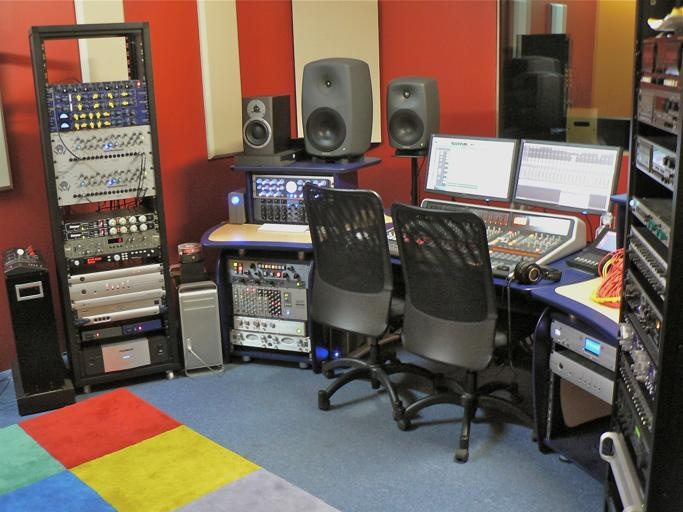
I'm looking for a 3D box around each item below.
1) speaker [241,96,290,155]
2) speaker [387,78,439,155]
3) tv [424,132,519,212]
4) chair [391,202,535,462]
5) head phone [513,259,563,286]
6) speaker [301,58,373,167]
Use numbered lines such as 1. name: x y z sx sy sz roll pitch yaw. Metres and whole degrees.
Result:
1. speaker: -0.545 -0.904 4.032 0.269 0.477 0.473 3 12 19
2. speaker: 0.506 -1.015 4.092 0.347 0.499 0.185 -6 17 0
3. tv: 0.814 -0.533 3.628 0.601 0.423 0.085 14 11 34
4. chair: 0.625 0.341 3.100 0.563 1.341 0.586 -19 21 -37
5. head phone: 0.997 0.064 2.931 0.158 0.073 0.140 -5 12 -20
6. speaker: -0.031 -1.029 4.012 0.497 0.664 0.239 -5 17 0
